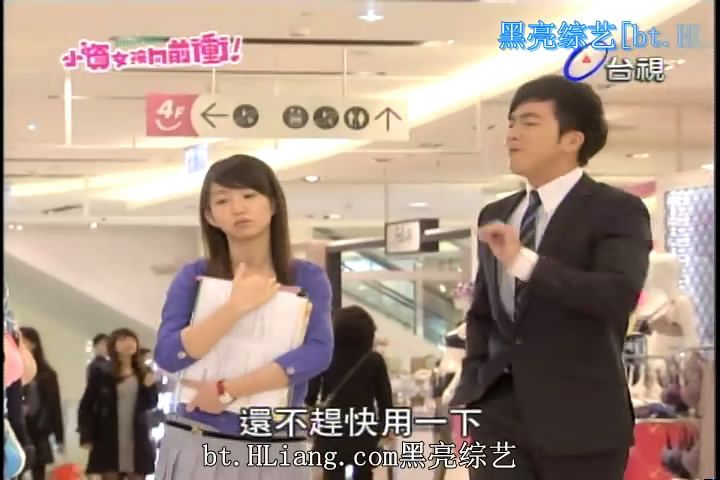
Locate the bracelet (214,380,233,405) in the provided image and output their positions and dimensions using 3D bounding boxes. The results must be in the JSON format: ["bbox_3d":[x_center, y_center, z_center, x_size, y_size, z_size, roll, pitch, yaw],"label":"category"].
[{"bbox_3d":[-0.684,0.783,3.338,0.093,0.118,0.044,2,-2,-15],"label":"bracelet"}]
